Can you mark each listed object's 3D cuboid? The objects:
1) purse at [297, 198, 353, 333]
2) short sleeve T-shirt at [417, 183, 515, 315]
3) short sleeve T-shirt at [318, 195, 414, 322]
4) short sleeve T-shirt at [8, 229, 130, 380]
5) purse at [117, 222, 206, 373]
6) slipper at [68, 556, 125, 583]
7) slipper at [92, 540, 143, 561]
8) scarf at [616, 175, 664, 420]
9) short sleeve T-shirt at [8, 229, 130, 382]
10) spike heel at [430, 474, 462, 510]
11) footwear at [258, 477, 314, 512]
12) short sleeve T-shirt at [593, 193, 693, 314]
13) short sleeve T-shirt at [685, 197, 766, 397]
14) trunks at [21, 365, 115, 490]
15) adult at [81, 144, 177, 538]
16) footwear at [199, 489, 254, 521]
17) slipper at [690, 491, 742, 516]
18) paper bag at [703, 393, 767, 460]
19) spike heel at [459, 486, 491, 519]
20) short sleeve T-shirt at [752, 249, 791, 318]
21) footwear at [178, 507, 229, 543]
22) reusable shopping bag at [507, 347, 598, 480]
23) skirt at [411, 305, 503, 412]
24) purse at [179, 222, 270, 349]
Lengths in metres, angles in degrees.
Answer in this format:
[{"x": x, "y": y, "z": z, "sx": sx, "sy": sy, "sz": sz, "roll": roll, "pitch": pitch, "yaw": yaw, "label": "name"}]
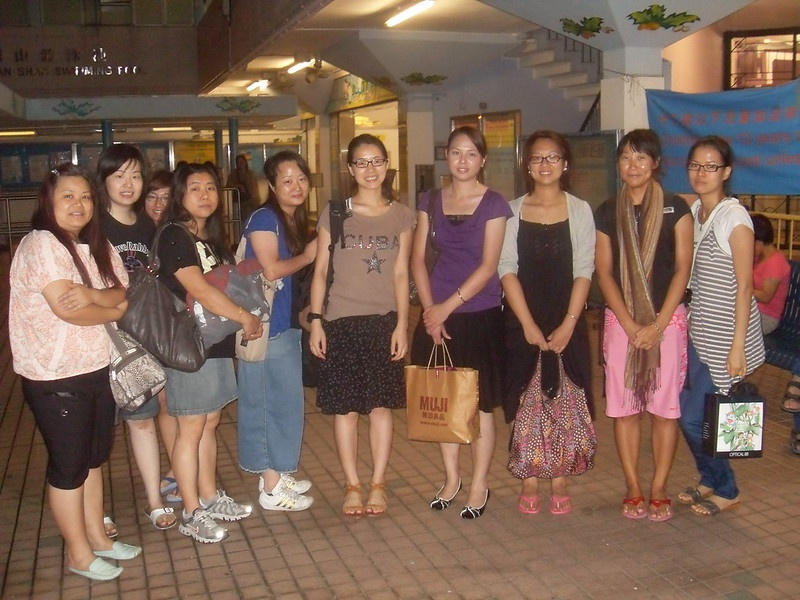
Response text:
[{"x": -0.454, "y": -0.219, "z": 3.717, "sx": 0.187, "sy": 0.743, "sz": 0.429, "roll": 13, "pitch": 10, "yaw": 19, "label": "purse"}, {"x": 0.393, "y": -0.292, "z": 3.635, "sx": 0.749, "sy": 0.839, "sz": 0.441, "roll": 0, "pitch": 8, "yaw": 9, "label": "short sleeve T-shirt"}, {"x": -0.225, "y": -0.237, "z": 3.661, "sx": 0.730, "sy": 0.930, "sz": 0.333, "roll": 0, "pitch": 5, "yaw": -14, "label": "short sleeve T-shirt"}, {"x": -1.650, "y": 0.042, "z": 3.014, "sx": 0.408, "sy": 0.722, "sz": 0.655, "roll": 9, "pitch": 12, "yaw": 30, "label": "short sleeve T-shirt"}, {"x": -1.417, "y": -0.082, "z": 3.345, "sx": 0.676, "sy": 0.819, "sz": 0.289, "roll": 14, "pitch": 30, "yaw": 39, "label": "purse"}, {"x": -1.633, "y": 1.446, "z": 3.235, "sx": 0.233, "sy": 0.086, "sz": 0.131, "roll": 8, "pitch": 18, "yaw": -1, "label": "slipper"}, {"x": -1.610, "y": 1.395, "z": 3.412, "sx": 0.204, "sy": 0.076, "sz": 0.100, "roll": 3, "pitch": 6, "yaw": -3, "label": "slipper"}, {"x": 1.436, "y": -0.033, "z": 3.682, "sx": 0.270, "sy": 1.353, "sz": 0.317, "roll": 2, "pitch": 11, "yaw": 18, "label": "scarf"}, {"x": -1.650, "y": 0.048, "z": 3.015, "sx": 0.413, "sy": 0.732, "sz": 0.663, "roll": 9, "pitch": 12, "yaw": 30, "label": "short sleeve T-shirt"}, {"x": 0.315, "y": 1.255, "z": 3.987, "sx": 0.100, "sy": 0.119, "sz": 0.295, "roll": 1, "pitch": 13, "yaw": 33, "label": "spike heel"}, {"x": -0.749, "y": 1.264, "z": 4.012, "sx": 0.450, "sy": 0.228, "sz": 0.158, "roll": 1, "pitch": 12, "yaw": -6, "label": "footwear"}, {"x": 1.515, "y": -0.286, "z": 3.763, "sx": 0.538, "sy": 0.715, "sz": 0.213, "roll": 5, "pitch": 8, "yaw": 23, "label": "short sleeve T-shirt"}, {"x": 1.899, "y": -0.034, "z": 3.655, "sx": 0.189, "sy": 1.133, "sz": 0.416, "roll": -7, "pitch": 12, "yaw": -26, "label": "short sleeve T-shirt"}, {"x": -1.739, "y": 0.649, "z": 3.212, "sx": 0.349, "sy": 0.597, "sz": 0.444, "roll": 0, "pitch": 10, "yaw": 7, "label": "trunks"}, {"x": -1.527, "y": 0.240, "z": 3.589, "sx": 0.645, "sy": 2.259, "sz": 0.622, "roll": 0, "pitch": 6, "yaw": 6, "label": "adult"}, {"x": -1.086, "y": 1.295, "z": 3.854, "sx": 0.371, "sy": 0.176, "sz": 0.139, "roll": 6, "pitch": 18, "yaw": -4, "label": "footwear"}, {"x": 1.953, "y": 1.264, "z": 3.771, "sx": 0.250, "sy": 0.060, "sz": 0.122, "roll": -4, "pitch": 13, "yaw": -13, "label": "slipper"}, {"x": 1.902, "y": 0.719, "z": 3.465, "sx": 0.381, "sy": 0.391, "sz": 0.137, "roll": 0, "pitch": 3, "yaw": -7, "label": "paper bag"}, {"x": 0.472, "y": 1.281, "z": 3.835, "sx": 0.092, "sy": 0.101, "sz": 0.256, "roll": -4, "pitch": 4, "yaw": 28, "label": "spike heel"}, {"x": 3.370, "y": -0.142, "z": 5.516, "sx": 0.305, "sy": 0.531, "sz": 0.548, "roll": 2, "pitch": 13, "yaw": 24, "label": "short sleeve T-shirt"}, {"x": -1.172, "y": 1.319, "z": 3.634, "sx": 0.332, "sy": 0.160, "sz": 0.143, "roll": 20, "pitch": 26, "yaw": 17, "label": "footwear"}, {"x": 0.921, "y": 0.753, "z": 3.683, "sx": 0.497, "sy": 0.829, "sz": 0.227, "roll": 2, "pitch": 11, "yaw": 17, "label": "reusable shopping bag"}, {"x": 0.354, "y": 0.357, "z": 3.622, "sx": 0.615, "sy": 0.806, "sz": 0.318, "roll": 1, "pitch": 6, "yaw": 19, "label": "skirt"}, {"x": -1.051, "y": -0.077, "z": 3.526, "sx": 0.609, "sy": 0.611, "sz": 0.239, "roll": -9, "pitch": -2, "yaw": -38, "label": "purse"}]
